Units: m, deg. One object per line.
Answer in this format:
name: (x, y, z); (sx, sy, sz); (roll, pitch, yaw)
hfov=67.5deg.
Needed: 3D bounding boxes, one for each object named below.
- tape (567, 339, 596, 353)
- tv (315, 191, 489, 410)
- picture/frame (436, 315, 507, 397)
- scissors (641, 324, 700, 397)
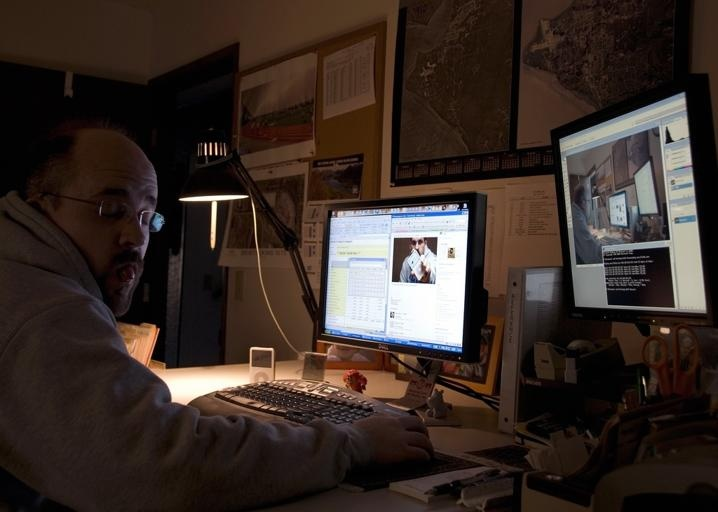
tape: (0.505, 0.206, 1.218); (0.066, 0.025, 0.017); (-6, 8, -35)
tv: (0.127, 0.094, 1.534); (0.520, 0.493, 0.193); (-1, -8, 38)
picture/frame: (0.302, 0.288, 1.566); (0.225, 0.233, 0.071); (3, 7, -37)
scissors: (0.608, 0.206, 1.046); (0.081, 0.132, 0.109); (5, -13, -35)
